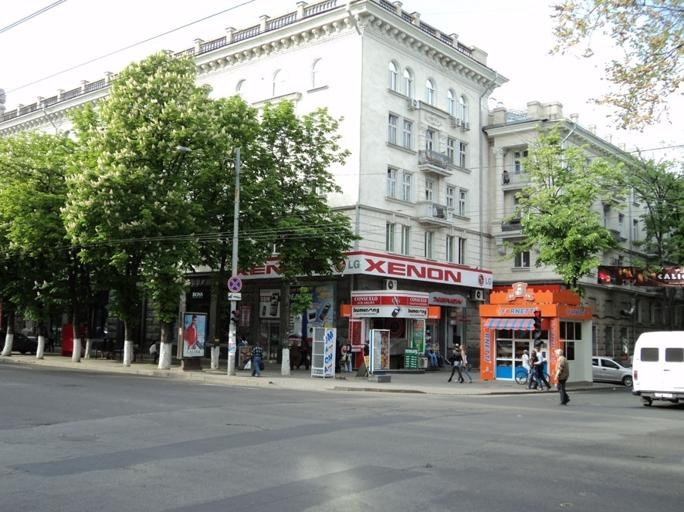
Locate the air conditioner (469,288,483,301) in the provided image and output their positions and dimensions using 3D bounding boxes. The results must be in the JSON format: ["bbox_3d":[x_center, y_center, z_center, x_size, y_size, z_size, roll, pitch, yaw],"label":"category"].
[{"bbox_3d":[9.294,2.750,52.122,0.743,0.850,1.291,-4,-7,27],"label":"air conditioner"}]

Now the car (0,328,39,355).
[{"bbox_3d":[-22.442,6.157,52.629,2.728,1.343,1.515,-1,-3,-18],"label":"car"}]

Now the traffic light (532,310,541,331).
[{"bbox_3d":[9.204,3.091,35.453,0.379,1.116,1.786,-1,-11,14],"label":"traffic light"}]

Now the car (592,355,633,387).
[{"bbox_3d":[15.068,6.430,42.038,2.339,1.053,1.286,-5,-8,30],"label":"car"}]

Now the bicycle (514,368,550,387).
[{"bbox_3d":[8.562,5.580,34.149,1.548,0.869,0.758,-4,-5,23],"label":"bicycle"}]
